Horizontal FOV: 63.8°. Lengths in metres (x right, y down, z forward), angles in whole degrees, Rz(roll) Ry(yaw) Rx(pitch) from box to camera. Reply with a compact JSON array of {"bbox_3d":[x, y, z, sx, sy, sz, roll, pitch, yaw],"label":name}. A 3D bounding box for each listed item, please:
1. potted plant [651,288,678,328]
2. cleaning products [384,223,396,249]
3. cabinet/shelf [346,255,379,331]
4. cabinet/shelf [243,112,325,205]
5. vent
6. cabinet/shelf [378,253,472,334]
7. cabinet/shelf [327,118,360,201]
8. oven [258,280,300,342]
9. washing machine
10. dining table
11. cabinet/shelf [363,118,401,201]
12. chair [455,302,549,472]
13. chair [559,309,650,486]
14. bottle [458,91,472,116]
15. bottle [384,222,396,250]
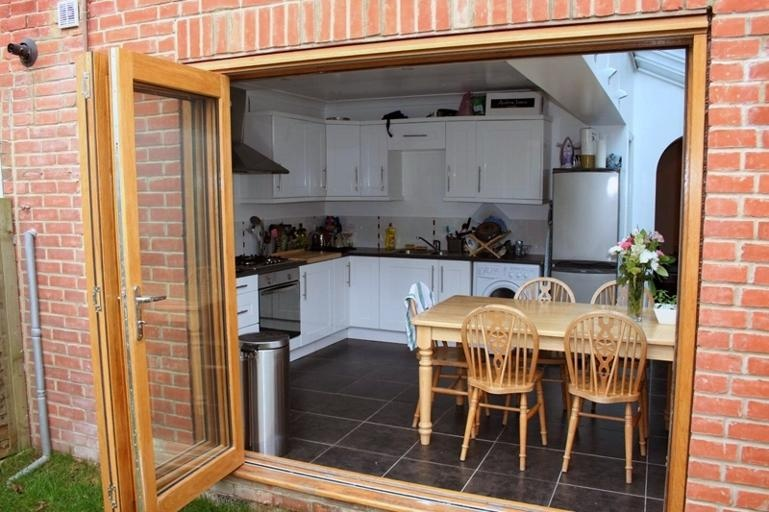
[{"bbox_3d":[2.143,0.382,4.713,0.157,0.230,0.603,5,11,23],"label":"potted plant"},{"bbox_3d":[0.075,-0.249,8.046,0.141,0.318,0.231,0,11,2],"label":"cleaning products"},{"bbox_3d":[-0.235,0.438,7.515,0.426,0.845,0.137,7,13,31],"label":"cabinet/shelf"},{"bbox_3d":[-1.185,-1.168,7.382,0.455,0.994,1.227,4,8,20],"label":"cabinet/shelf"},{"bbox_3d":[-1.259,-1.193,6.199,0.557,0.807,1.555,-2,10,-11],"label":"vent"},{"bbox_3d":[0.451,0.353,6.391,1.031,0.779,0.384,0,1,16],"label":"cabinet/shelf"},{"bbox_3d":[-0.499,-1.274,7.988,0.586,0.931,0.644,8,16,17],"label":"cabinet/shelf"},{"bbox_3d":[-1.111,0.500,6.563,0.429,0.372,0.284,-6,9,-14],"label":"oven"},{"bbox_3d":[1.497,0.383,7.042,0.630,0.803,0.460,0,3,20],"label":"washing machine"},{"bbox_3d":[1.055,0.582,5.157,2.086,0.914,1.187,0,1,26],"label":"dining table"},{"bbox_3d":[-0.105,-1.179,7.659,0.398,0.958,0.176,0,11,-2],"label":"cabinet/shelf"},{"bbox_3d":[0.967,0.887,4.874,0.676,1.169,1.087,3,11,15],"label":"chair"},{"bbox_3d":[1.695,0.921,4.651,0.615,1.195,0.983,5,11,23],"label":"chair"},{"bbox_3d":[0.957,-1.792,7.294,0.171,0.267,0.108,2,11,10],"label":"bottle"},{"bbox_3d":[0.075,-0.249,8.047,0.141,0.320,0.233,0,11,2],"label":"bottle"}]
